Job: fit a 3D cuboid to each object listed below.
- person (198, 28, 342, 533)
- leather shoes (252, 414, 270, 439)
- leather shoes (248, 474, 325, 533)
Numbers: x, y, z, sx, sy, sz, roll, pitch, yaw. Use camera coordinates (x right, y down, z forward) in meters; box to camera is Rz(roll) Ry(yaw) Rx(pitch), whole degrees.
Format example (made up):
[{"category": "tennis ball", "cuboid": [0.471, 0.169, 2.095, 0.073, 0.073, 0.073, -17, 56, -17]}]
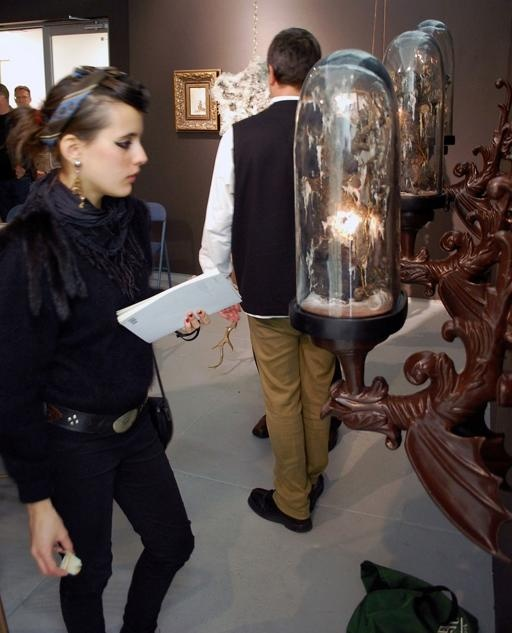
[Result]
[{"category": "person", "cuboid": [0.064, -0.089, 1.928, 0.520, 1.749, 0.275, 10, 19, 42]}, {"category": "leather shoes", "cuboid": [0.020, 0.554, 2.674, 0.040, 0.129, 0.110, 7, -23, -38]}, {"category": "leather shoes", "cuboid": [0.107, 0.731, 2.065, 0.127, 0.141, 0.319, -23, 34, -37]}]
